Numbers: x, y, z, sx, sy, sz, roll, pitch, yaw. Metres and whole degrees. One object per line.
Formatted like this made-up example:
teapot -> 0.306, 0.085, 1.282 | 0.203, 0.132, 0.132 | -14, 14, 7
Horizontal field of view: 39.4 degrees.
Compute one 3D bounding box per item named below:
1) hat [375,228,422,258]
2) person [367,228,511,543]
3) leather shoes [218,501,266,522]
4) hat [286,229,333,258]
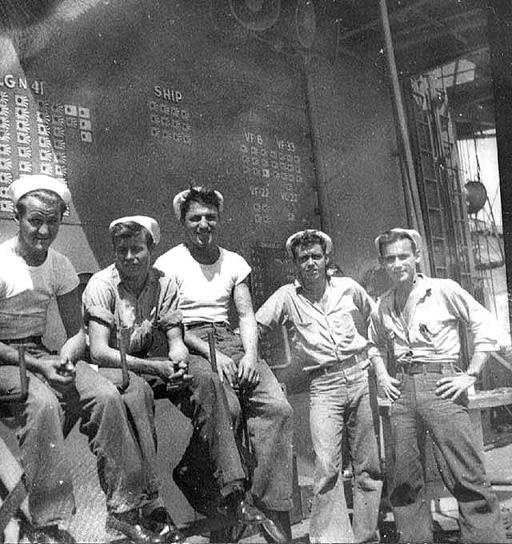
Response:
hat -> 0.793, -0.189, 4.010 | 0.141, 0.148, 0.204 | -3, 3, 4
person -> 0.955, 0.572, 3.800 | 0.677, 1.351, 0.415 | -3, 1, 11
leather shoes -> -0.068, 1.136, 3.378 | 0.245, 0.136, 0.095 | -5, -21, 25
hat -> 0.300, -0.181, 4.103 | 0.160, 0.129, 0.200 | 1, -10, 0
